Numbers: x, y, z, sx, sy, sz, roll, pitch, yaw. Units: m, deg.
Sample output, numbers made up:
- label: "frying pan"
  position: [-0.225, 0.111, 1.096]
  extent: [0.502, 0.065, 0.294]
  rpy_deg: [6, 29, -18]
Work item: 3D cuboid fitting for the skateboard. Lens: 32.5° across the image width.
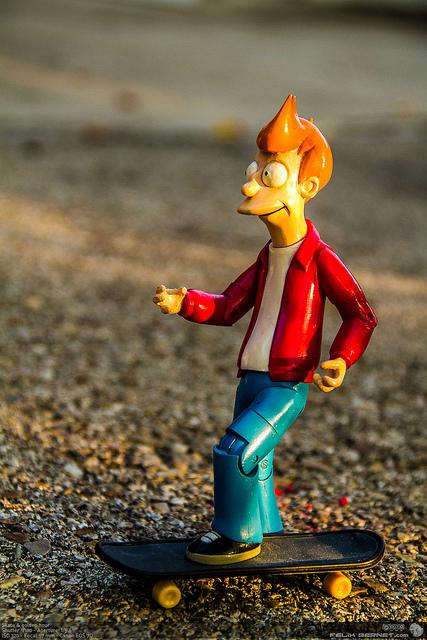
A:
- label: "skateboard"
  position: [0.131, 0.844, 2.612]
  extent: [1.083, 0.150, 0.346]
  rpy_deg: [0, 1, -9]
